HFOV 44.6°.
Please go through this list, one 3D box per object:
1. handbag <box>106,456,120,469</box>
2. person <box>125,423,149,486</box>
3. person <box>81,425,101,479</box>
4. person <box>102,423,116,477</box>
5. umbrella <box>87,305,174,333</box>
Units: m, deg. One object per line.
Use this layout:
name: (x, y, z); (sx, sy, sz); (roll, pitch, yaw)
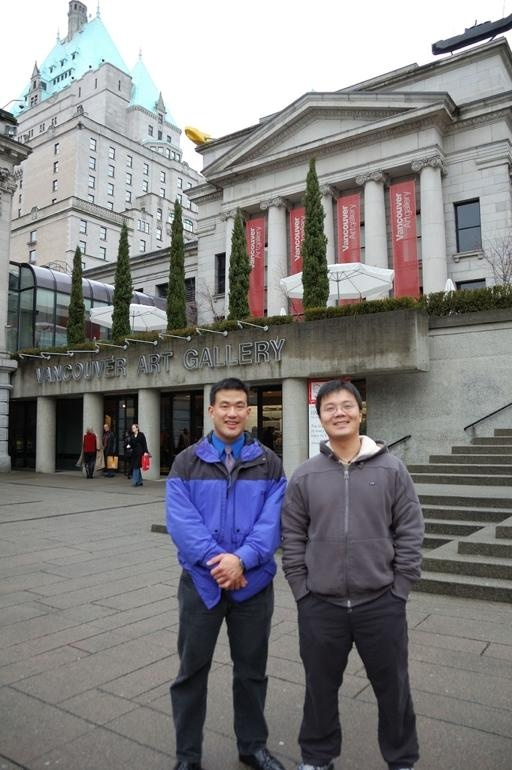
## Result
handbag: (-5.046, 2.662, 21.647); (0.453, 0.512, 0.283); (0, 0, 33)
person: (-3.421, 1.987, 17.938); (0.525, 1.781, 0.483); (-10, -12, 17)
person: (-5.756, 2.334, 21.435); (0.525, 1.722, 0.879); (-1, -3, -19)
person: (-5.230, 2.282, 21.861); (0.410, 1.829, 1.287); (-1, -3, -14)
umbrella: (-5.393, -2.886, 26.480); (1.851, 0.843, 2.096); (0, -2, 17)
